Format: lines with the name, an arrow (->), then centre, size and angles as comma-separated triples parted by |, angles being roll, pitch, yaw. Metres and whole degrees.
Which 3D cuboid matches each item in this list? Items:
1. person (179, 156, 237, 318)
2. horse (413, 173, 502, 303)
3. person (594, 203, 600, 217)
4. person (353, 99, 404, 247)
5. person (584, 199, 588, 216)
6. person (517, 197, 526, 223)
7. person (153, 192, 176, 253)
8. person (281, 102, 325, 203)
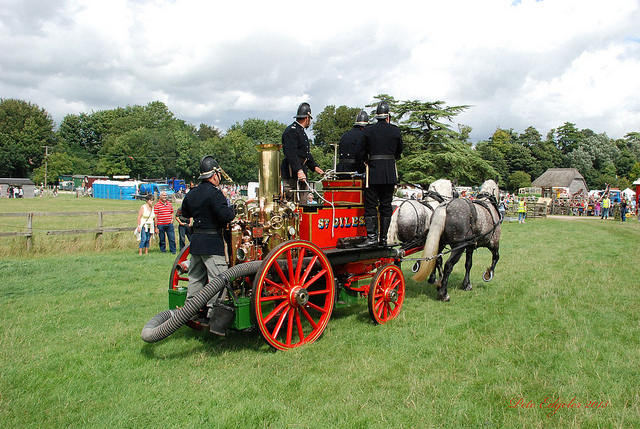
person -> -1.982, 0.413, 7.786 | 0.961, 2.810, 1.516 | -4, 13, -18
horse -> 3.693, 0.726, 11.247 | 1.557, 2.761, 3.626 | 6, 13, 26
person -> 24.493, -0.389, 38.680 | 0.369, 1.327, 1.144 | 3, -3, 21
person -> 1.220, -0.854, 9.076 | 0.899, 2.904, 1.350 | 2, 12, 9
person -> 24.056, -0.506, 39.630 | 0.307, 1.060, 1.048 | 7, 14, 30
person -> 13.765, -0.212, 29.774 | 0.457, 1.596, 1.818 | 5, 13, 25
person -> -5.319, 0.273, 14.977 | 0.630, 2.126, 0.580 | -5, 13, -23
person -> -0.381, -1.224, 8.611 | 0.788, 1.843, 1.105 | 1, 12, 4
